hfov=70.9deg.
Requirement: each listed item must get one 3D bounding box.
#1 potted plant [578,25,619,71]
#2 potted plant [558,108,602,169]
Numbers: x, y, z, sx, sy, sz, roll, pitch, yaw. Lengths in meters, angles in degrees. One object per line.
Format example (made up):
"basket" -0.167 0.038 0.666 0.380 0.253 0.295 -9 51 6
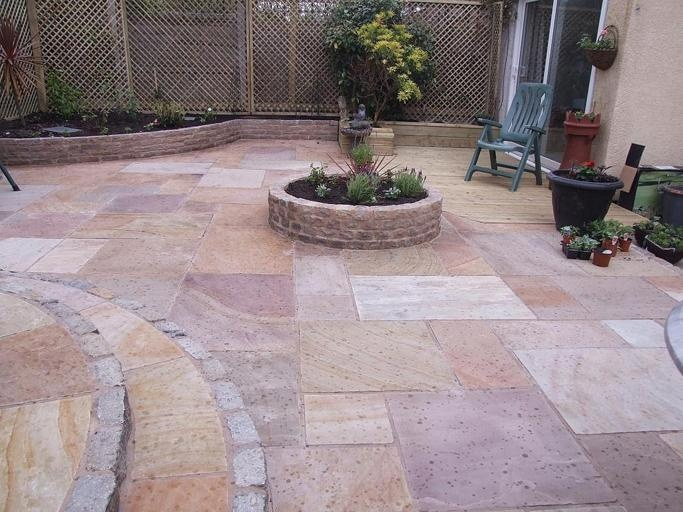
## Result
"potted plant" 3.128 -2.511 5.756 0.457 0.446 0.337 14 46 30
"potted plant" 2.979 -1.431 5.962 0.433 0.692 0.531 7 27 11
